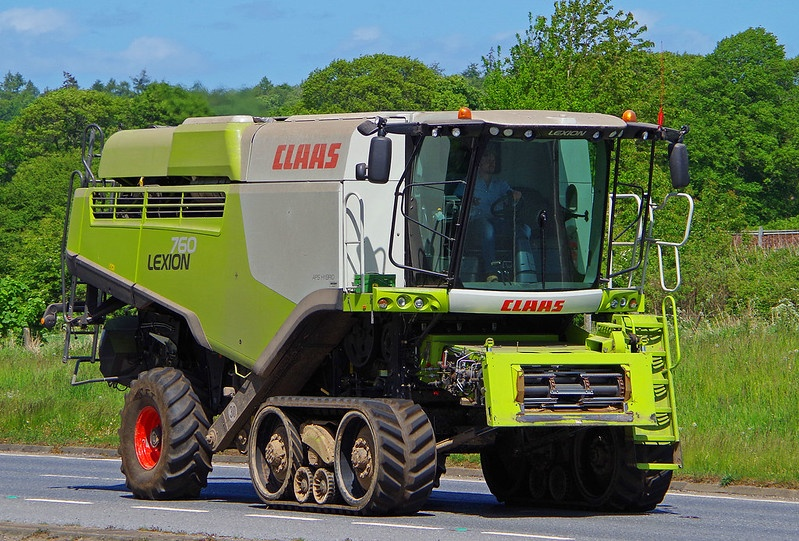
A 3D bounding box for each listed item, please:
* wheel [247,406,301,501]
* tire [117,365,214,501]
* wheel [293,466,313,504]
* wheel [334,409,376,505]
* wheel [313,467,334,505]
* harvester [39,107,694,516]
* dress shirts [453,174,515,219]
[{"bbox_3d":[-1.863,2.730,13.143,0.466,1.395,1.360,1,8,-32],"label":"wheel"},{"bbox_3d":[-3.820,2.671,14.360,0.728,2.170,2.159,3,-6,-36],"label":"tire"},{"bbox_3d":[-1.410,3.099,12.698,0.177,0.538,0.534,3,1,-26],"label":"wheel"},{"bbox_3d":[-0.604,2.583,12.026,0.392,1.307,0.918,-11,10,-25],"label":"wheel"},{"bbox_3d":[-1.090,3.069,12.472,0.190,0.525,0.523,4,-1,-31],"label":"wheel"},{"bbox_3d":[-1.246,0.590,14.572,5.926,5.231,9.706,6,-8,-43],"label":"harvester"},{"bbox_3d":[1.223,-1.046,12.423,1.117,0.632,0.282,-1,4,12],"label":"dress shirts"}]
